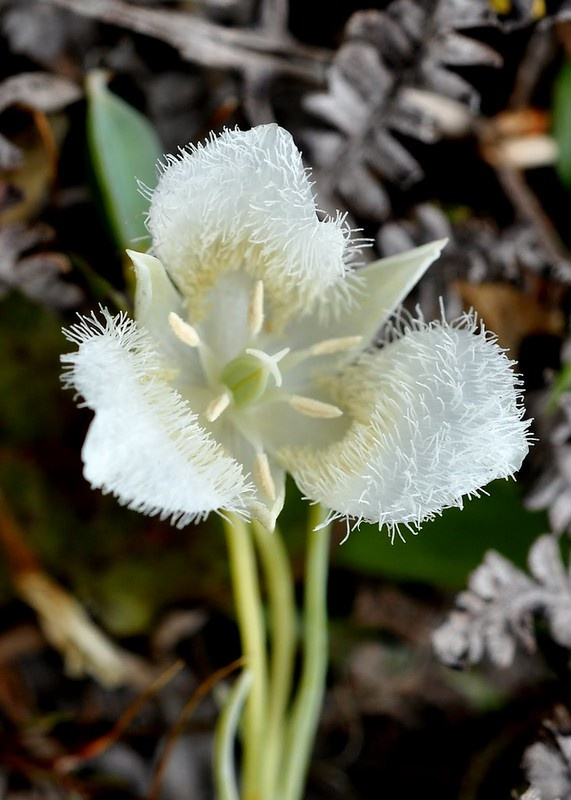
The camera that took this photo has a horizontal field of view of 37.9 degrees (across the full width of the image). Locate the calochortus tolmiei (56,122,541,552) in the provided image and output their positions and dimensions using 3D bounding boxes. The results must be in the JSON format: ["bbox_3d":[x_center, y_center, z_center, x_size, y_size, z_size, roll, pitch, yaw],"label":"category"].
[{"bbox_3d":[-0.013,-0.056,0.922,0.446,0.295,0.465,-24,83,-6],"label":"calochortus tolmiei"}]
